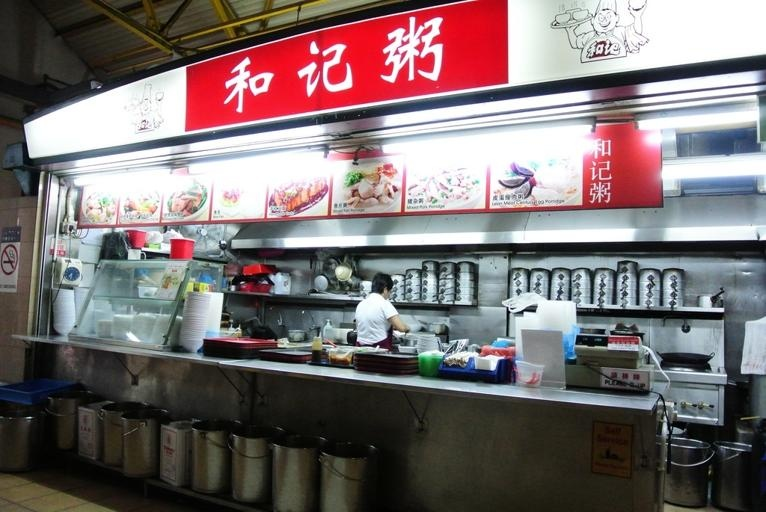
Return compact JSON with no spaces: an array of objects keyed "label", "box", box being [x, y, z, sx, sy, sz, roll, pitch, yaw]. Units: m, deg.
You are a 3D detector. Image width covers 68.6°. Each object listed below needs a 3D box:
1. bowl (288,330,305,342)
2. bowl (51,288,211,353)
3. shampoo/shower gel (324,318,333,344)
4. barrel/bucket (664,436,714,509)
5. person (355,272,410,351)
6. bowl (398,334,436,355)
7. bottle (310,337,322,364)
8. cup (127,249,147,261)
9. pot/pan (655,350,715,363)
[{"label":"bowl","box":[-1.216,1.083,7.666,0.229,0.120,0.215,-1,-3,0]},{"label":"bowl","box":[-2.438,0.654,5.859,1.554,0.591,0.454,-1,-8,27]},{"label":"shampoo/shower gel","box":[-0.720,0.995,7.599,0.123,0.264,0.412,4,-7,-8]},{"label":"barrel/bucket","box":[3.159,2.199,5.749,0.506,0.654,0.242,2,-8,6]},{"label":"person","box":[-0.003,0.614,6.362,0.518,0.845,0.485,5,-8,-14]},{"label":"bowl","box":[0.407,0.973,6.422,0.290,0.241,0.397,-1,1,-32]},{"label":"bottle","box":[-0.603,0.862,5.176,0.093,0.226,0.211,4,-7,-7]},{"label":"cup","box":[-3.061,-0.022,6.966,0.123,0.103,0.188,3,9,0]},{"label":"pot/pan","box":[3.519,1.157,6.450,0.583,0.116,0.383,1,-7,15]}]
